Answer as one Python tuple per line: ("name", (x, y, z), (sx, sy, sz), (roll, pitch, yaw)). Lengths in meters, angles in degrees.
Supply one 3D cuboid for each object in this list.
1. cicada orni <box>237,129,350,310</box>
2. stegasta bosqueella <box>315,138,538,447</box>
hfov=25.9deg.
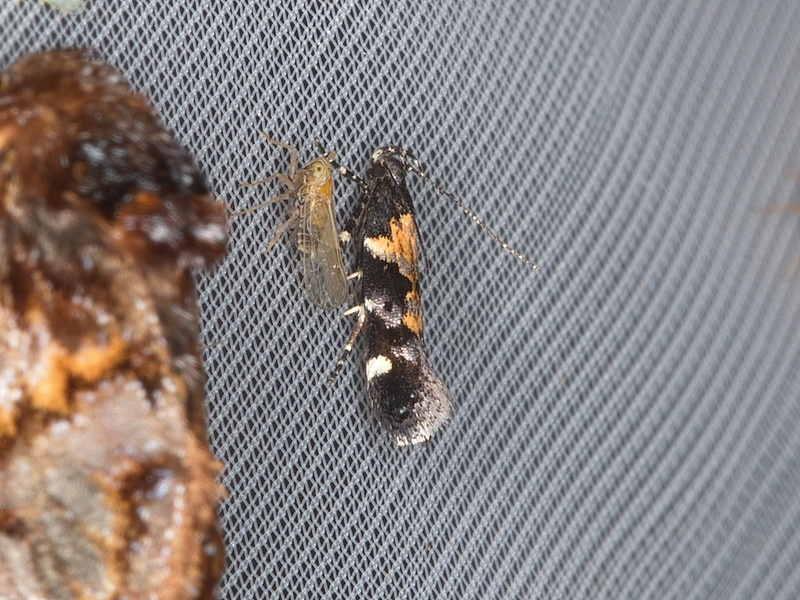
("cicada orni", (-0.124, -0.090, 2.001), (0.138, 0.053, 0.197), (-3, 89, -44))
("stegasta bosqueella", (0.026, 0.001, 1.932), (0.198, 0.087, 0.313), (-6, 91, -33))
